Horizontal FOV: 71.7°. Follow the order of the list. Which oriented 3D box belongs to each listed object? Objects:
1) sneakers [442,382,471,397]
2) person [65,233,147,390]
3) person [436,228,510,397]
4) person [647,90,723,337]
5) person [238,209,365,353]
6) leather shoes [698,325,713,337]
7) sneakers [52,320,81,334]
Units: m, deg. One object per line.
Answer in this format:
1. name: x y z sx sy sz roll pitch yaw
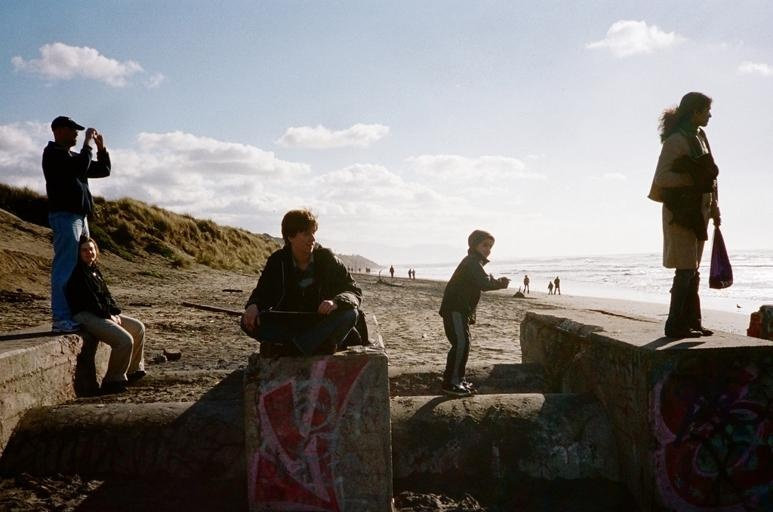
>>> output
1. sneakers: 0.813 1.527 6.129 0.354 0.160 0.124 -1 2 6
2. person: -3.057 0.608 5.921 0.662 1.633 0.582 2 3 3
3. person: 0.974 0.634 6.398 0.815 1.880 0.942 3 3 25
4. person: 2.975 -0.432 5.287 0.656 2.416 0.716 2 3 15
5. person: -0.782 0.276 4.993 1.073 1.337 0.913 -2 -1 -7
6. leather shoes: 3.175 0.727 5.349 0.079 0.113 0.270 -1 6 12
7. sneakers: -3.361 0.735 5.593 0.252 0.122 0.195 1 3 -20
